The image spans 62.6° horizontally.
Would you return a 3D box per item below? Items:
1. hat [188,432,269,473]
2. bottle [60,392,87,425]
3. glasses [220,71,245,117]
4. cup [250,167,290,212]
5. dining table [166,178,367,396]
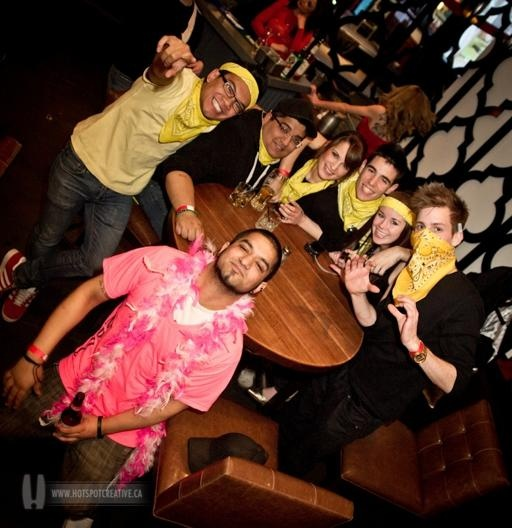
[{"bbox_3d":[-0.163,0.928,2.138,0.323,0.089,0.243,8,19,-17],"label":"hat"},{"bbox_3d":[-0.822,0.642,1.891,0.070,0.198,0.070,14,43,-13],"label":"bottle"},{"bbox_3d":[-0.137,-0.968,2.409,0.176,0.052,0.192,57,17,-56],"label":"glasses"},{"bbox_3d":[0.079,-0.514,2.881,0.107,0.114,0.375,27,55,13],"label":"cup"},{"bbox_3d":[0.363,0.189,2.563,1.066,0.339,1.042,53,39,7],"label":"dining table"}]
